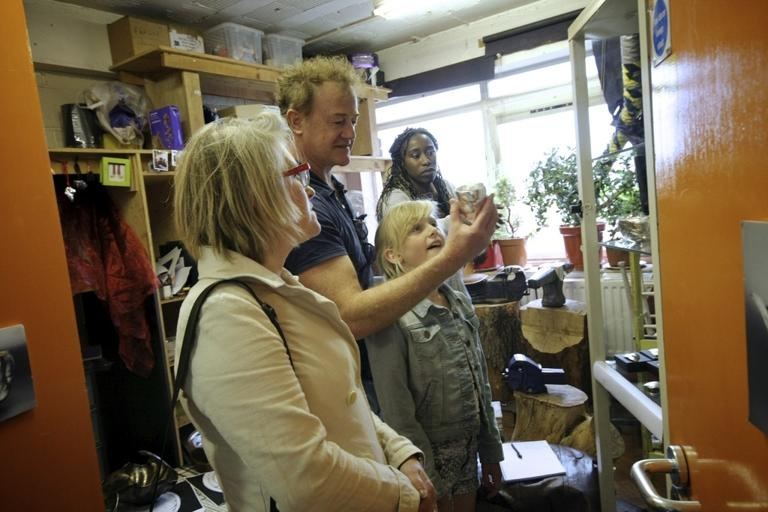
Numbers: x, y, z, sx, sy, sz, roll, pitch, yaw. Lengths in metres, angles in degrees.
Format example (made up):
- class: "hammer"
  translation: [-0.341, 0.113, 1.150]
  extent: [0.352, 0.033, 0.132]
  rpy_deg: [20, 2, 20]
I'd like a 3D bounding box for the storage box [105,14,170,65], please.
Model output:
- class: "storage box"
  translation: [-1.634, -1.453, 3.715]
  extent: [0.410, 0.259, 0.263]
  rpy_deg: [-5, 7, -11]
